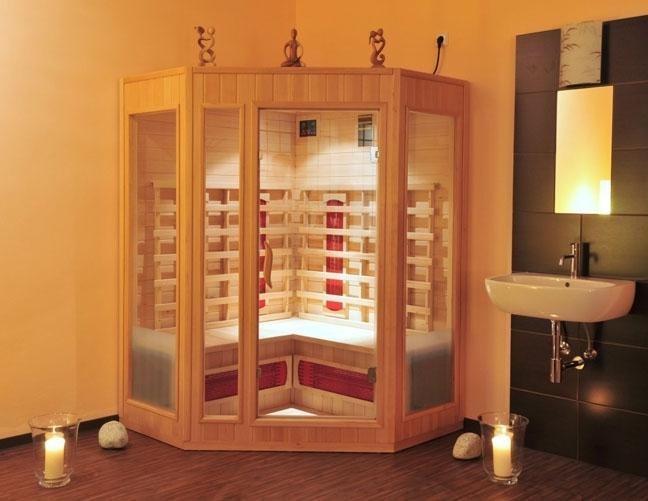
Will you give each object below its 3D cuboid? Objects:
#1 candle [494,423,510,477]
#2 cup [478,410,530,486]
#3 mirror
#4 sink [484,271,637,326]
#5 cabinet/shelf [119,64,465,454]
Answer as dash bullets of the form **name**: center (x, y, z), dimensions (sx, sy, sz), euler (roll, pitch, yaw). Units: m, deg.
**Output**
- **candle**: center (0.823, 0.929, 2.672), dimensions (0.092, 0.247, 0.039), euler (1, 8, 16)
- **cup**: center (0.851, 0.914, 2.834), dimensions (0.284, 0.346, 0.311), euler (0, -1, 0)
- **mirror**: center (1.301, -0.503, 2.911), dimensions (0.012, 0.627, 0.307), euler (-2, 2, -44)
- **sink**: center (1.103, 0.264, 2.745), dimensions (0.621, 0.262, 0.452), euler (4, 9, 33)
- **cabinet/shelf**: center (-0.259, 0.047, 3.896), dimensions (2.005, 2.131, 1.997), euler (1, 1, 29)
